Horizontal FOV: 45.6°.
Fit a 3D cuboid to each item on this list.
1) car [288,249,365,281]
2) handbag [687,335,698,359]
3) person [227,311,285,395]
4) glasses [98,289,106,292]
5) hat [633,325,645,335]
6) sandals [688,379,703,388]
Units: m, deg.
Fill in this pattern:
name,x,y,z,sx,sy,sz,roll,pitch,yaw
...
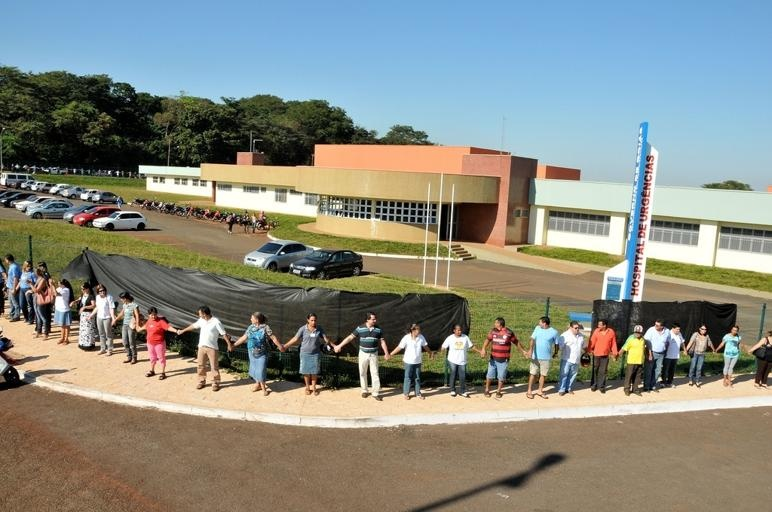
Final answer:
name,x,y,z,sx,sy,sz,roll,pitch,yaw
car,-3.050,0.431,47.253,1.485,1.267,4.067,6,2,42
handbag,11.345,3.285,33.909,0.264,0.720,0.528,10,2,25
person,-4.372,3.370,31.606,1.376,2.244,0.928,5,2,-8
glasses,-10.209,1.257,32.990,0.248,0.140,0.135,4,2,-35
hat,9.020,2.663,32.831,0.299,0.400,0.365,-4,30,28
sandals,11.522,4.734,34.051,0.635,0.237,0.205,11,21,-36
